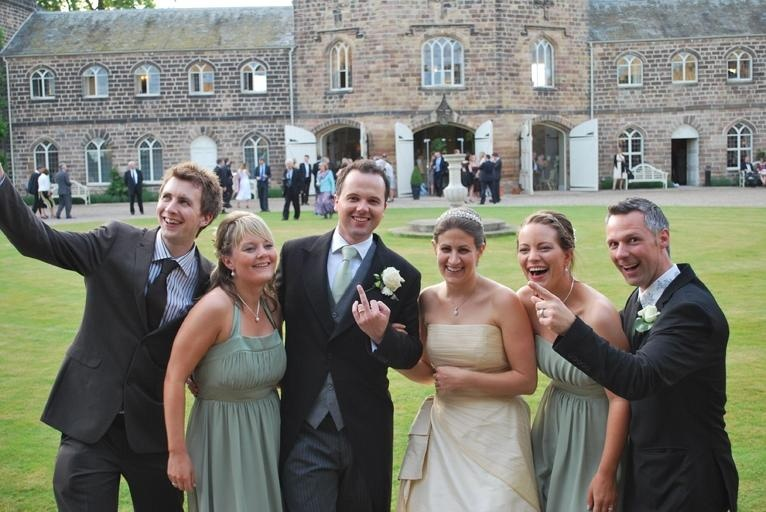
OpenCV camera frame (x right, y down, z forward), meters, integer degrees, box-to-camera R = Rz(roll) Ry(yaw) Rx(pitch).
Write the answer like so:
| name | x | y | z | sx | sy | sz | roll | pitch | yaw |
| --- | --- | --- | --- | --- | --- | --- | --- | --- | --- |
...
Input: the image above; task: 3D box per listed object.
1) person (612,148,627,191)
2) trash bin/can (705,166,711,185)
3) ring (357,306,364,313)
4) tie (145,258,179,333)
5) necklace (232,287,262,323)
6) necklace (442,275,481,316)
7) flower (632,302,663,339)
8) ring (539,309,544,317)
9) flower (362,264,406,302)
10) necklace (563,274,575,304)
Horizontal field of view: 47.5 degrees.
| name | x | y | z | sx | sy | sz | roll | pitch | yaw |
| --- | --- | --- | --- | --- | --- | --- | --- | --- | --- |
| person | 8.635 | -3.197 | 31.897 | 0.459 | 1.512 | 1.760 | 0 | 5 | 15 |
| trash bin/can | 12.162 | -3.002 | 32.664 | 0.221 | 0.729 | 0.226 | 0 | 4 | 16 |
| ring | -0.174 | 0.409 | 6.764 | 0.045 | 0.049 | 0.014 | -18 | -13 | 32 |
| tie | -1.772 | 0.305 | 6.896 | 0.149 | 0.577 | 0.142 | 18 | -13 | -28 |
| necklace | -1.073 | 0.403 | 6.961 | 0.204 | 0.210 | 0.054 | -5 | -18 | -46 |
| necklace | 0.654 | 0.309 | 7.295 | 0.242 | 0.373 | 0.365 | -3 | 16 | 36 |
| flower | 2.046 | 0.499 | 6.762 | 0.113 | 0.219 | 0.162 | 23 | -7 | -38 |
| ring | 1.191 | 0.425 | 6.556 | 0.044 | 0.056 | 0.013 | 0 | 4 | 11 |
| flower | 0.046 | 0.200 | 7.034 | 0.274 | 0.157 | 0.217 | 4 | 3 | -45 |
| necklace | 1.529 | 0.281 | 7.143 | 0.040 | 0.183 | 0.124 | 8 | 3 | -25 |
